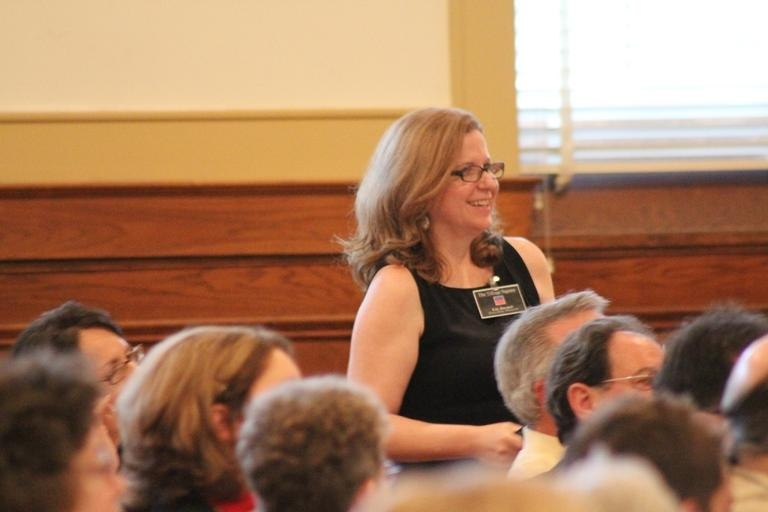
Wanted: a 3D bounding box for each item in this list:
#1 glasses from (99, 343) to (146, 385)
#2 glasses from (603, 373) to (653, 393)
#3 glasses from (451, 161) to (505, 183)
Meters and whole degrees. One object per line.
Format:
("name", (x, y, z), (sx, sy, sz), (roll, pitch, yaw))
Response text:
("glasses", (-0.899, 0.374, 2.531), (0.163, 0.061, 0.125), (-41, 14, -19))
("glasses", (0.722, 0.368, 2.149), (0.175, 0.056, 0.040), (-4, 10, -15))
("glasses", (0.353, -0.320, 2.782), (0.134, 0.034, 0.126), (-1, -11, -36))
